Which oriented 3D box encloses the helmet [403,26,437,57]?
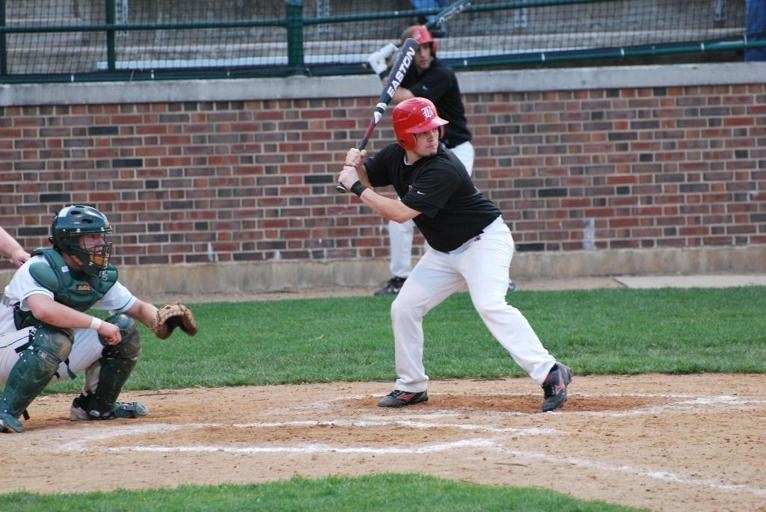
[{"bbox_3d":[0.415,-2.529,20.061,0.422,0.307,0.304,-1,14,-2],"label":"helmet"}]

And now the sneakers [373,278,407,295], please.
[{"bbox_3d":[0.098,0.391,22.104,0.521,0.200,0.170,-8,8,19],"label":"sneakers"}]

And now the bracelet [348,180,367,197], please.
[{"bbox_3d":[-0.278,-0.712,18.099,0.163,0.149,0.286,-2,4,-5],"label":"bracelet"}]

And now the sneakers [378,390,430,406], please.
[{"bbox_3d":[0.201,1.539,18.368,0.566,0.213,0.180,3,-2,-11],"label":"sneakers"}]

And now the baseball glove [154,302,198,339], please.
[{"bbox_3d":[-2.280,0.721,18.198,0.529,0.315,0.671,0,-8,-11],"label":"baseball glove"}]

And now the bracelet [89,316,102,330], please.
[{"bbox_3d":[-2.957,0.702,17.687,0.105,0.125,0.123,3,-32,-20],"label":"bracelet"}]

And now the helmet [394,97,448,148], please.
[{"bbox_3d":[0.390,-1.412,18.077,0.674,0.474,0.490,1,20,32],"label":"helmet"}]

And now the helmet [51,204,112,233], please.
[{"bbox_3d":[-3.119,-0.362,17.765,0.464,0.276,0.330,4,2,3],"label":"helmet"}]

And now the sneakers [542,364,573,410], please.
[{"bbox_3d":[1.812,1.395,17.936,0.310,0.561,0.203,10,2,-36],"label":"sneakers"}]
